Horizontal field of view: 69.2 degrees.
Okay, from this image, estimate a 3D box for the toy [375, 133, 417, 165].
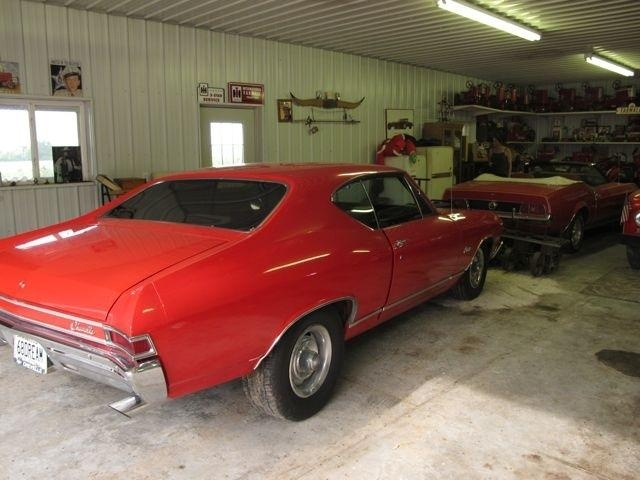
[{"bbox_3d":[1.870,-2.220,11.317,1.019,0.695,0.719,-5,15,-9],"label":"toy"}]
